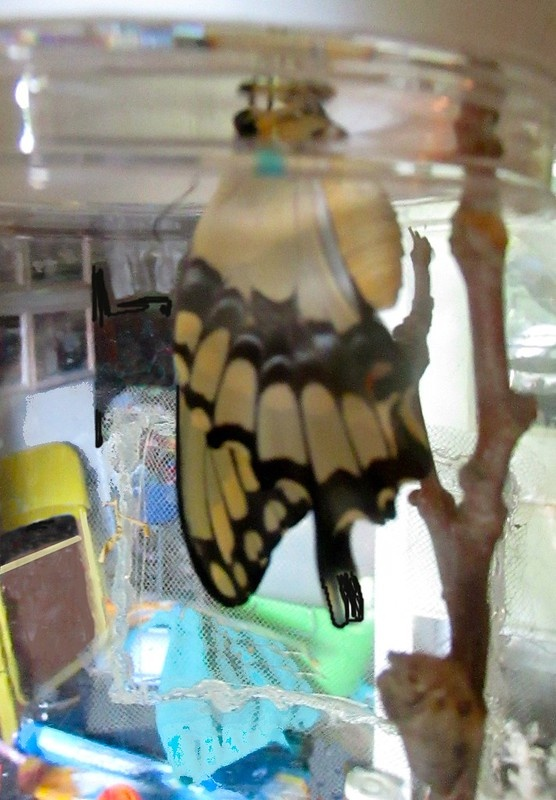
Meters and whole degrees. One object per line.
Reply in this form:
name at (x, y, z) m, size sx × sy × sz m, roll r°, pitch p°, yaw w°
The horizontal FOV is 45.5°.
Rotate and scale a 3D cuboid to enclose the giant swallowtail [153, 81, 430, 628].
giant swallowtail at (0.011, -0.018, 0.310) m, size 0.121 × 0.241 × 0.074 m, roll -1°, pitch 25°, yaw 6°
